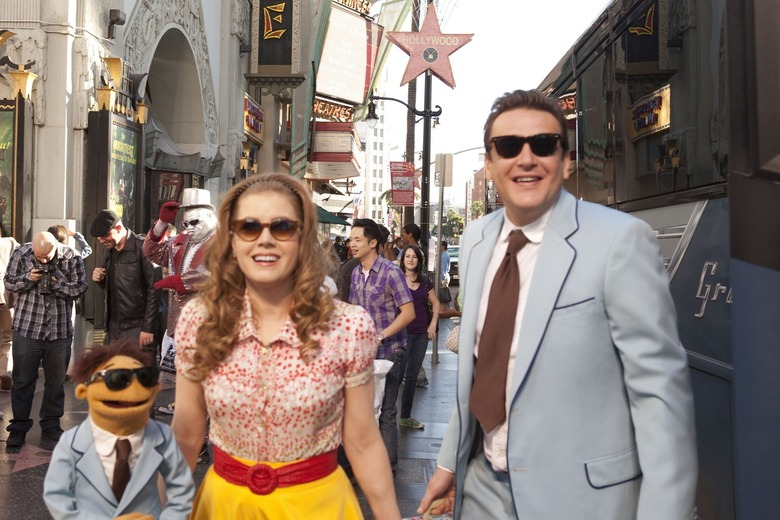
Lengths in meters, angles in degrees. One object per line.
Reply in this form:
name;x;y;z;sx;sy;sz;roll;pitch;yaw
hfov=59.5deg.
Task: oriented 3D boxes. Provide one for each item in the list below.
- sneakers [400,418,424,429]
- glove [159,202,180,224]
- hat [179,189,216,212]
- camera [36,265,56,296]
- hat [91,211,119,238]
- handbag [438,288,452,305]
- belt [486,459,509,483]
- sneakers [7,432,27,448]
sneakers;0.292;2.126;8.808;0.244;0.119;0.137;1;-2;11
glove;-2.656;-0.572;8.287;0.200;0.324;0.127;4;-4;-2
hat;-2.221;-0.713;7.993;0.384;0.266;0.465;2;5;24
camera;-4.161;0.243;8.281;0.270;0.336;0.125;5;-11;-30
hat;-3.337;-0.408;8.062;0.220;0.209;0.352;-6;25;6
handbag;1.235;0.830;15.399;0.410;0.360;0.590;-1;2;1
belt;0.561;1.090;3.526;0.071;0.064;0.078;-2;2;2
sneakers;-4.254;2.048;7.780;0.173;0.157;0.254;1;-1;-27
